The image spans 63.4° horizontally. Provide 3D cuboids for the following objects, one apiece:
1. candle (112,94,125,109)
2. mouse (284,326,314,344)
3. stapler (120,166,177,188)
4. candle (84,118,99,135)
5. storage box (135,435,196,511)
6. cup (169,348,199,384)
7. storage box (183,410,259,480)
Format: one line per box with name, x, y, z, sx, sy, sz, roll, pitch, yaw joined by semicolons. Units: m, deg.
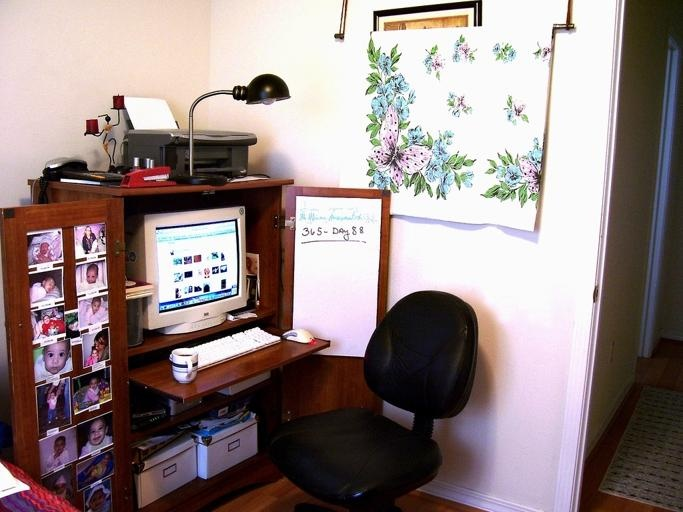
candle;-1.047;-0.722;2.609;0.055;0.059;0.032;-7;13;-20
mouse;-0.212;0.384;2.708;0.121;0.043;0.069;7;9;27
stapler;-0.788;-0.320;2.262;0.069;0.092;0.240;10;13;35
candle;-1.178;-0.605;2.615;0.071;0.074;0.142;-8;14;-24
storage box;-0.798;0.993;2.545;0.214;0.144;0.222;-6;9;28
cup;-0.655;0.448;2.305;0.094;0.103;0.138;-5;20;-23
storage box;-0.565;0.940;2.749;0.253;0.170;0.260;3;9;39
